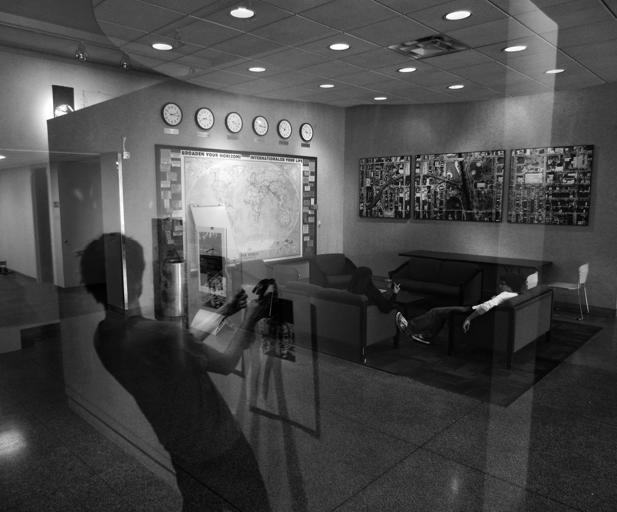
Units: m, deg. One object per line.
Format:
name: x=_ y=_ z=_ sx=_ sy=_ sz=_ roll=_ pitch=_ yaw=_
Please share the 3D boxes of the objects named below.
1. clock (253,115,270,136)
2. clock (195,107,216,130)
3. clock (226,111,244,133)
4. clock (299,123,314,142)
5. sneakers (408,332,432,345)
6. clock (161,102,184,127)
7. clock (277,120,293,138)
clock: x=-0.164 y=-0.432 z=1.538 sx=0.011 sy=0.066 sz=0.071 roll=7 pitch=12 yaw=40
clock: x=-0.317 y=-0.416 z=1.385 sx=0.011 sy=0.069 sz=0.069 roll=4 pitch=-2 yaw=36
clock: x=-0.242 y=-0.426 z=1.470 sx=0.021 sy=0.066 sz=0.078 roll=4 pitch=10 yaw=27
clock: x=-0.011 y=-0.449 z=1.677 sx=0.011 sy=0.069 sz=0.079 roll=5 pitch=11 yaw=34
sneakers: x=0.498 y=0.375 z=2.060 sx=0.119 sy=0.054 sz=0.042 roll=3 pitch=16 yaw=-2
clock: x=-0.414 y=-0.430 z=1.394 sx=0.081 sy=0.098 sz=0.015 roll=2 pitch=4 yaw=12
clock: x=-0.090 y=-0.443 z=1.600 sx=0.010 sy=0.062 sz=0.062 roll=7 pitch=12 yaw=40
